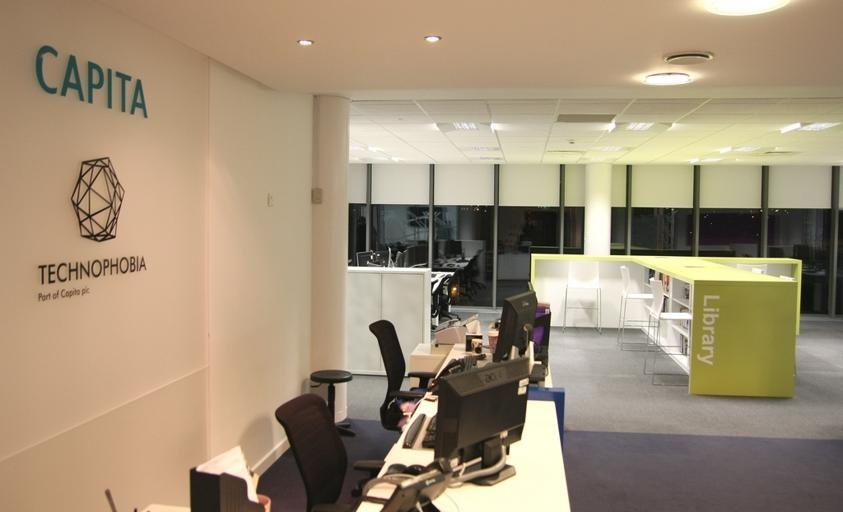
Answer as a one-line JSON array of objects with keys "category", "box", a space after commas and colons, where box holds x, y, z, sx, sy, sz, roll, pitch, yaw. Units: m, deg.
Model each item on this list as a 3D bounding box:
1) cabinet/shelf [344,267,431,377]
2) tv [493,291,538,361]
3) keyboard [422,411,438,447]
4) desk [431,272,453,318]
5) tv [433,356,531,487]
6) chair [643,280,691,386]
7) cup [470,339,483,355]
[{"category": "cabinet/shelf", "box": [-0.459, 0.921, 7.834, 1.708, 1.524, 0.576, 0, -4, 4]}, {"category": "tv", "box": [0.871, 0.644, 5.364, 0.222, 0.594, 0.637, 8, 14, 35]}, {"category": "keyboard", "box": [0.073, 1.382, 4.572, 0.065, 0.242, 0.261, 11, -12, -7]}, {"category": "desk", "box": [0.400, 0.860, 10.805, 0.398, 0.973, 1.512, 0, 11, 2]}, {"category": "tv", "box": [0.458, 1.235, 4.150, 0.880, 0.766, 0.351, -4, 10, -39]}, {"category": "chair", "box": [3.990, 1.248, 9.199, 0.705, 1.173, 1.540, -1, 1, 10]}, {"category": "cup", "box": [0.575, 0.938, 5.933, 0.134, 0.140, 0.128, 0, 4, 0]}]
